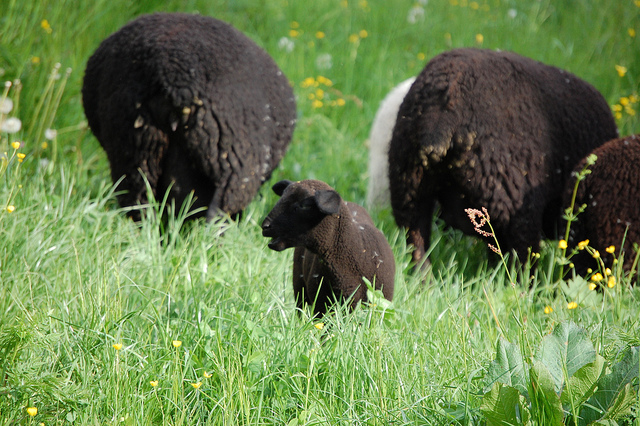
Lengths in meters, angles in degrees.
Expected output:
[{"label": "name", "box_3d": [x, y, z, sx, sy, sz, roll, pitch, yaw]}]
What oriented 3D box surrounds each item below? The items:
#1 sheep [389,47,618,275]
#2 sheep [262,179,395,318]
[{"label": "sheep", "box_3d": [1.576, -0.277, 6.353, 1.133, 1.863, 2.498, 3, 7, 42]}, {"label": "sheep", "box_3d": [0.108, 0.230, 5.066, 0.464, 0.922, 1.112, 9, 7, 39]}]
